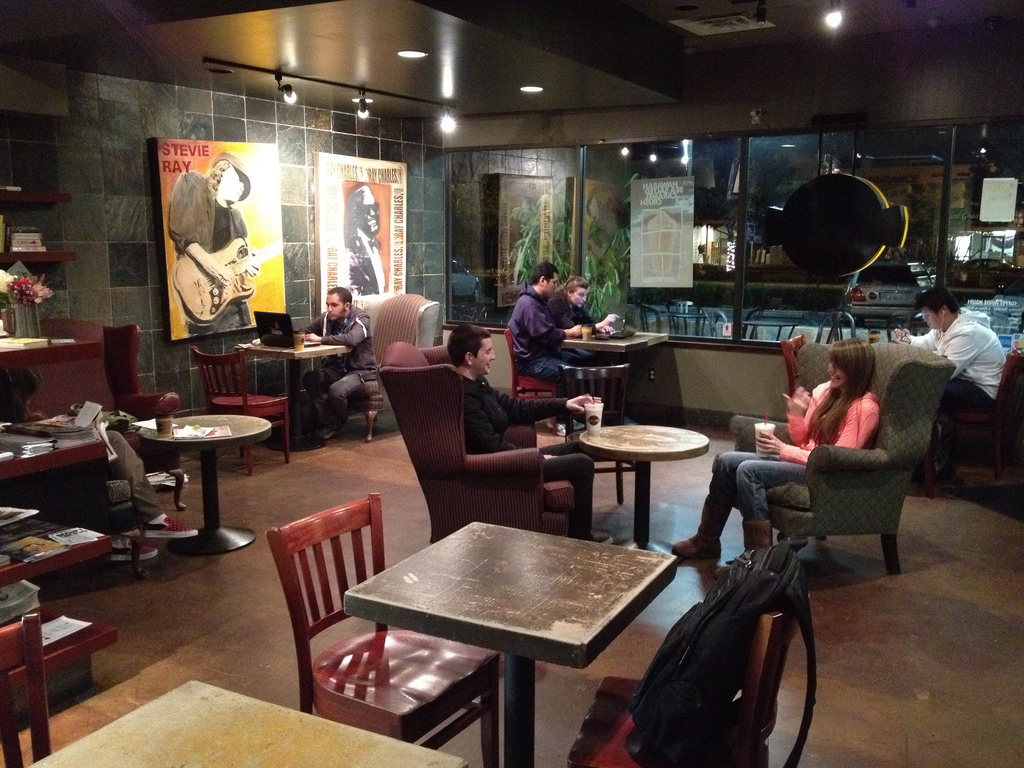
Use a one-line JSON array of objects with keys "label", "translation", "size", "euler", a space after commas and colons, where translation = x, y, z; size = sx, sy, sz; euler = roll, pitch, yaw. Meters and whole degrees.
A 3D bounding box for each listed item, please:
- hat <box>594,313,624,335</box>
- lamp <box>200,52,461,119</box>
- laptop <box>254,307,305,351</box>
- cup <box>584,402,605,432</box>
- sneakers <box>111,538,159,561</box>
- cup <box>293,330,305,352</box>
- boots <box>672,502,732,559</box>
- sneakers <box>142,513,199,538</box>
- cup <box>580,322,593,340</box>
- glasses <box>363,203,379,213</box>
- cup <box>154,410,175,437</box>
[{"label": "hat", "translation": [0.988, -0.594, 7.825], "size": [0.248, 0.111, 0.338], "euler": [-1, 3, -1]}, {"label": "lamp", "translation": [-1.549, -2.721, 7.087], "size": [0.577, 0.133, 2.946], "euler": [5, 13, 36]}, {"label": "laptop", "translation": [-2.101, -0.501, 7.086], "size": [0.457, 0.327, 0.326], "euler": [4, 10, 25]}, {"label": "cup", "translation": [0.495, 0.202, 4.675], "size": [0.158, 0.216, 0.157], "euler": [1, 0, 0]}, {"label": "sneakers", "translation": [-2.287, 1.042, 4.786], "size": [0.336, 0.125, 0.143], "euler": [0, -20, -17]}, {"label": "cup", "translation": [-1.914, -0.386, 7.011], "size": [0.141, 0.222, 0.139], "euler": [0, 4, 0]}, {"label": "boots", "translation": [1.141, 0.878, 4.679], "size": [0.318, 0.348, 0.153], "euler": [3, 5, 12]}, {"label": "sneakers", "translation": [-2.240, 0.939, 5.054], "size": [0.415, 0.163, 0.165], "euler": [2, 2, -7]}, {"label": "cup", "translation": [0.737, -0.502, 7.459], "size": [0.121, 0.140, 0.127], "euler": [0, 6, 0]}, {"label": "glasses", "translation": [-1.525, -1.954, 8.493], "size": [0.105, 0.084, 0.085], "euler": [-22, 15, -12]}, {"label": "cup", "translation": [-2.188, 0.246, 4.888], "size": [0.148, 0.185, 0.144], "euler": [0, 5, 0]}]
